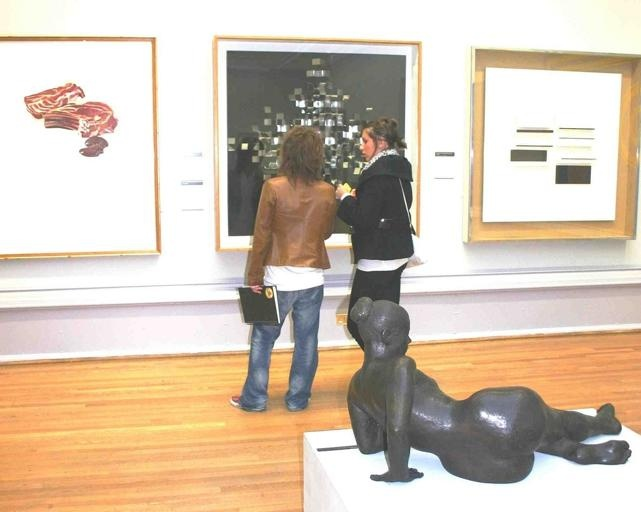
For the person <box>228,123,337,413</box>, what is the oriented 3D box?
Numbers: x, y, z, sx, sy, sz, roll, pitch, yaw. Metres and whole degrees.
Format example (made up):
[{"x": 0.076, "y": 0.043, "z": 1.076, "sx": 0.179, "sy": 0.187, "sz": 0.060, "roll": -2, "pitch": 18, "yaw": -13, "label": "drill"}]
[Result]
[{"x": -0.218, "y": 0.111, "z": 3.687, "sx": 0.672, "sy": 1.948, "sz": 0.327, "roll": -7, "pitch": 12, "yaw": -34, "label": "person"}]

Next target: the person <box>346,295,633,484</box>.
[{"x": 0.662, "y": 0.431, "z": 2.120, "sx": 1.102, "sy": 0.745, "sz": 0.484, "roll": -3, "pitch": 3, "yaw": -13, "label": "person"}]

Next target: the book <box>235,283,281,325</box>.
[{"x": -0.402, "y": 0.332, "z": 3.534, "sx": 0.268, "sy": 0.300, "sz": 0.164, "roll": 0, "pitch": 10, "yaw": 0, "label": "book"}]

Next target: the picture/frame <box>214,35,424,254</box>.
[{"x": -0.095, "y": -0.935, "z": 4.259, "sx": 1.774, "sy": 1.858, "sz": 0.044, "roll": -1, "pitch": 4, "yaw": -9, "label": "picture/frame"}]
